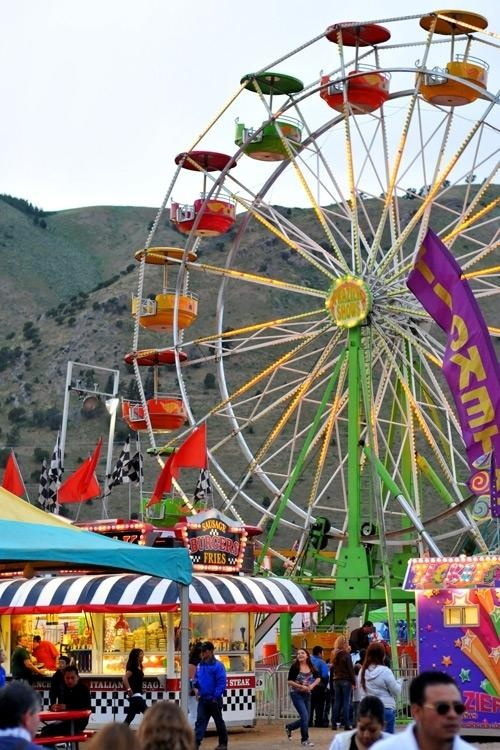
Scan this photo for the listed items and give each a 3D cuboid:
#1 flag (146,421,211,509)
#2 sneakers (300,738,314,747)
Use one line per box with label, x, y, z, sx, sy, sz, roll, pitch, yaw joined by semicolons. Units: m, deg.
flag;-1.798;2.217;22.250;1.295;2.070;2.303;3;-21;-10
sneakers;0.932;5.772;13.575;0.089;0.096;0.249;9;-14;-43
